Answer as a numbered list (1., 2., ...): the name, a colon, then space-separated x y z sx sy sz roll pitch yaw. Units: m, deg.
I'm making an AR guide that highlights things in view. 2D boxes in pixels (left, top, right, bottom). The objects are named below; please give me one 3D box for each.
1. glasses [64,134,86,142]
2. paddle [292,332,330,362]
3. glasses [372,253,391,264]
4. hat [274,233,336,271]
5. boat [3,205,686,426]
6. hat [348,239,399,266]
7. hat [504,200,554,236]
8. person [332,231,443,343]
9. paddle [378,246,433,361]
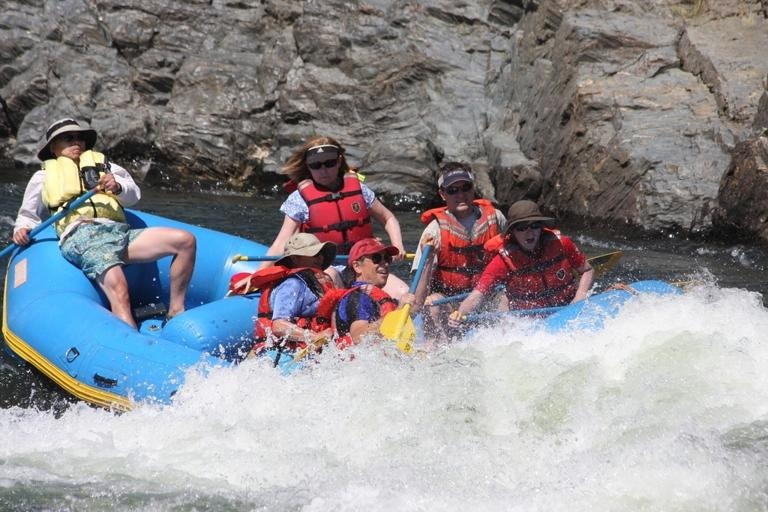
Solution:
1. glasses: -3.425 -1.315 11.109 0.115 0.034 0.115 -10 -8 43
2. paddle: -0.691 0.879 9.659 0.475 0.153 0.116 -37 5 -8
3. glasses: -0.020 0.025 9.775 0.114 0.034 0.112 6 -11 -38
4. hat: -0.787 -0.042 10.080 0.505 0.173 0.375 -22 -16 30
5. boat: -1.430 0.662 9.861 5.657 1.017 2.734 9 25 20
6. hat: -0.104 -0.056 9.842 0.419 0.177 0.259 -9 0 18
7. hat: 1.455 -0.453 10.565 0.414 0.199 0.411 -15 -14 3
8. person: 0.021 0.211 10.170 1.017 1.509 1.143 -2 18 -7
9. paddle: 0.303 0.488 9.718 0.377 1.243 0.068 23 -21 14
